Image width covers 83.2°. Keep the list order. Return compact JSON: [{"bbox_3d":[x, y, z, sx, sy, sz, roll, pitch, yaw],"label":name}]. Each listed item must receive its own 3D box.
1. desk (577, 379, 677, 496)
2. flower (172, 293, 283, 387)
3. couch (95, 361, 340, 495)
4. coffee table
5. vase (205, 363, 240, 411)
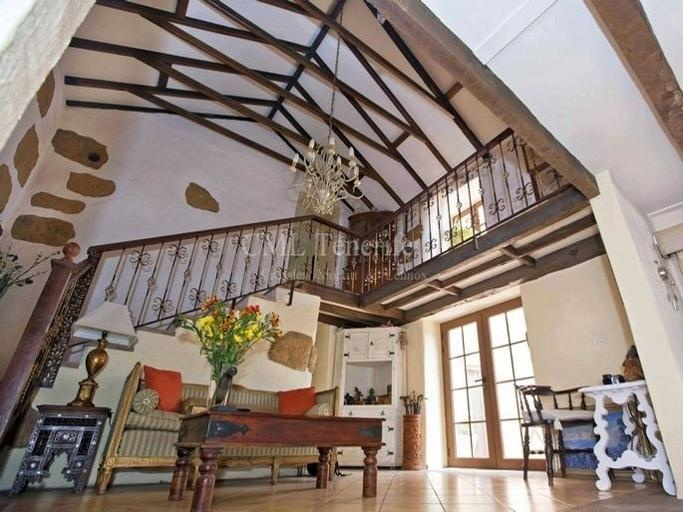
[{"bbox_3d":[2.500,1.588,3.421,0.532,0.841,0.794,-12,-29,29],"label":"desk"},{"bbox_3d":[-0.789,0.715,3.016,0.665,0.561,0.712,5,-25,-39],"label":"flower"},{"bbox_3d":[-1.129,1.826,3.997,2.196,1.109,0.797,14,-29,-26],"label":"couch"},{"bbox_3d":[-0.669,1.785,3.485,1.582,0.601,2.440,12,-27,-19],"label":"coffee table"},{"bbox_3d":[-0.842,0.933,2.721,0.117,0.290,0.375,10,-26,-15],"label":"vase"}]
